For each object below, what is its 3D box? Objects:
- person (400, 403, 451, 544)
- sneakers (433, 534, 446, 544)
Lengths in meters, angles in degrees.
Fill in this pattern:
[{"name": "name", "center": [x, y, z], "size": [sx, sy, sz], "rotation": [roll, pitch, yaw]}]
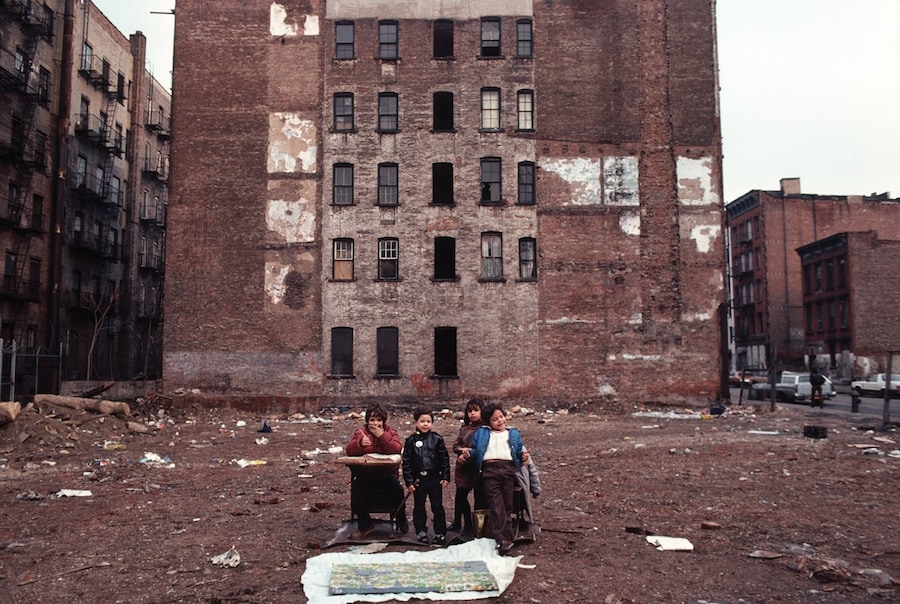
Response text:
[{"name": "person", "center": [-0.604, 4.384, 21.763], "size": [1.163, 3.333, 0.922], "rotation": [2, 12, 10]}, {"name": "sneakers", "center": [-0.240, 6.026, 21.713], "size": [0.355, 0.151, 0.126], "rotation": [-2, 1, -34]}]
